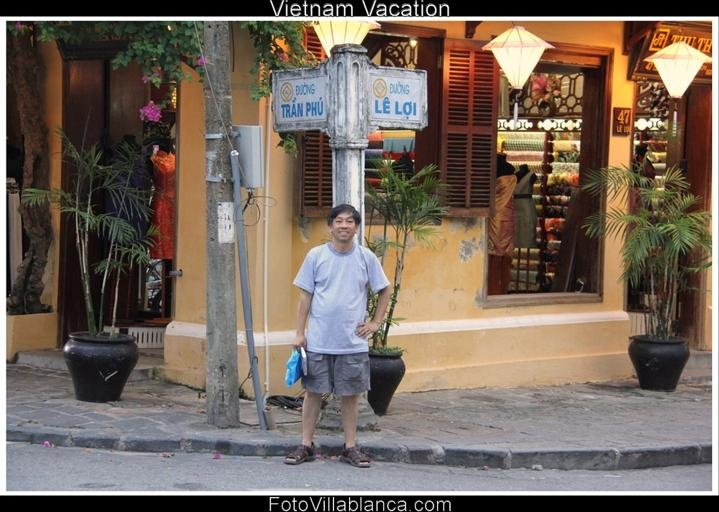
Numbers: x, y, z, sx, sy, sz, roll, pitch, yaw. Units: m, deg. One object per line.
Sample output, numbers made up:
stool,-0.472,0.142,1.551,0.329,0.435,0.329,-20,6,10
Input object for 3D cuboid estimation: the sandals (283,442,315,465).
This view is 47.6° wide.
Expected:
sandals,-0.570,1.943,8.010,0.130,0.154,0.360,-6,-10,41

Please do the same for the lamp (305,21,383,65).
lamp,-0.189,-2.339,8.656,0.576,0.284,0.528,3,-2,-44

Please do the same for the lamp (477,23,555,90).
lamp,1.911,-2.659,10.495,0.646,0.538,0.631,3,21,-4

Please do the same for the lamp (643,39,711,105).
lamp,4.367,-2.526,11.356,0.794,0.728,0.800,0,1,-3

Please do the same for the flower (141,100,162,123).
flower,-3.088,-2.121,12.048,0.258,0.288,0.243,-24,-31,20

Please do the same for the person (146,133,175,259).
person,-2.825,-0.777,12.049,0.452,1.707,0.388,-3,16,-19

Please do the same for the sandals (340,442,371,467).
sandals,-0.044,1.961,8.017,0.140,0.144,0.319,1,-3,-38

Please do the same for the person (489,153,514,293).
person,2.112,-0.477,12.074,0.345,2.042,0.980,2,5,11

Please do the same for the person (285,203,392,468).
person,-0.220,0.771,7.956,0.952,2.545,0.406,1,5,1

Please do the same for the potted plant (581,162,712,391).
potted plant,4.364,0.223,12.457,1.926,3.207,3.018,3,5,17

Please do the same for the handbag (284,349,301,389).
handbag,-0.623,1.089,7.872,0.088,0.362,0.229,8,-7,-36
